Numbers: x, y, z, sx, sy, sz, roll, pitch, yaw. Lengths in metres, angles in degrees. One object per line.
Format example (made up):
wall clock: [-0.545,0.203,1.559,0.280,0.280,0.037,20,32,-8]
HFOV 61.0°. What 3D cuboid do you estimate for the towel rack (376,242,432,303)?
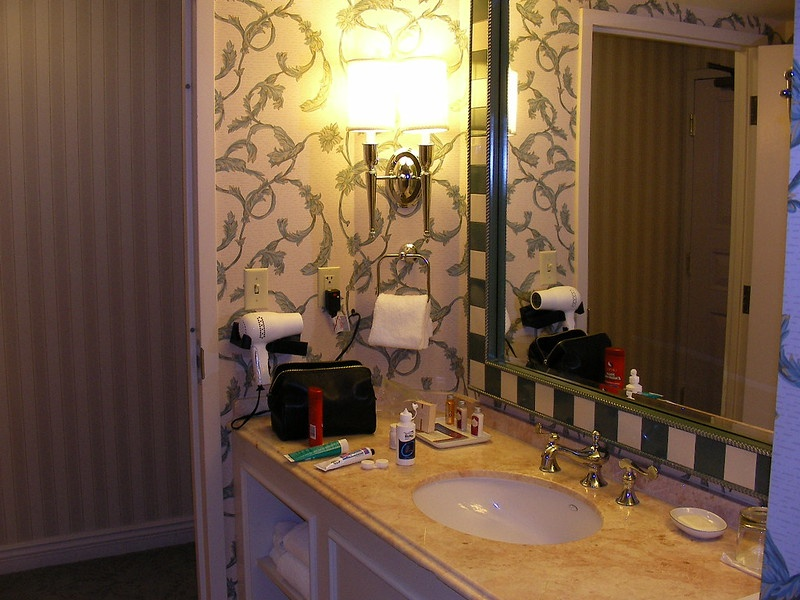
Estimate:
towel rack: [0.021,-0.105,2.408,0.197,0.196,0.068,2,3,15]

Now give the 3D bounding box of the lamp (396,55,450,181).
lamp: [0.082,-0.624,2.314,0.177,0.379,0.140,-2,14,2]

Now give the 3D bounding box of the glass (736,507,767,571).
glass: [0.748,0.530,1.497,0.062,0.104,0.066,19,-11,46]

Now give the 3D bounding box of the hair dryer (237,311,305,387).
hair dryer: [-0.433,0.161,2.252,0.237,0.264,0.101,1,-9,-39]

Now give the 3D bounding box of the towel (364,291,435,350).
towel: [0.011,0.070,2.340,0.191,0.182,0.079,0,-14,23]

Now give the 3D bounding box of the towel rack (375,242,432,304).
towel rack: [0.019,-0.101,2.406,0.198,0.205,0.069,2,5,15]

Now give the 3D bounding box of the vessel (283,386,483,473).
vessel: [-0.024,0.313,2.153,0.694,0.269,0.204,-8,13,-30]

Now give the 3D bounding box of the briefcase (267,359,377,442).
briefcase: [-0.237,0.306,2.137,0.383,0.270,0.212,0,2,-20]
